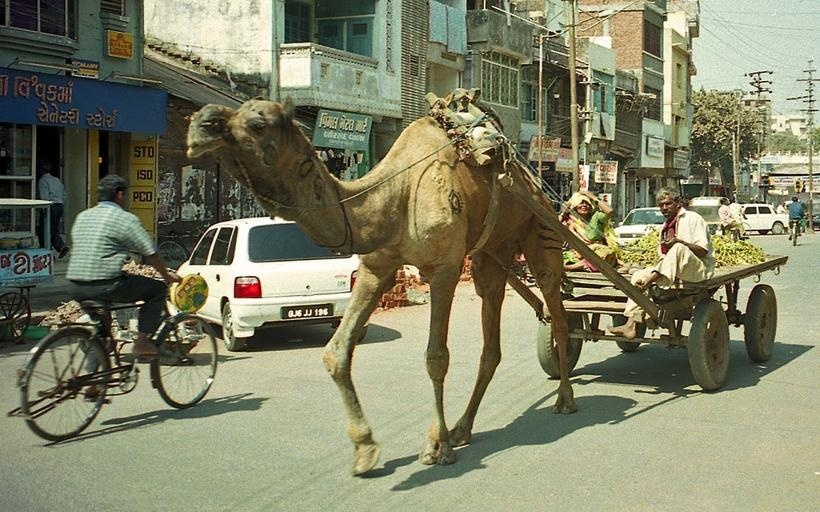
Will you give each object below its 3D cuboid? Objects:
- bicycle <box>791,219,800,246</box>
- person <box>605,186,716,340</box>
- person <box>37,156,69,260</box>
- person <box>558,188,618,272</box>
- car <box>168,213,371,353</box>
[{"bbox_3d":[15.983,-0.995,35.474,0.345,1.049,1.409,4,12,23],"label":"bicycle"},{"bbox_3d":[3.551,0.162,11.859,1.111,2.116,1.345,6,14,33],"label":"person"},{"bbox_3d":[-8.737,-1.115,20.719,0.764,2.401,0.984,-5,5,-44],"label":"person"},{"bbox_3d":[2.582,-0.385,12.723,1.068,1.163,0.836,-5,-5,-33],"label":"person"},{"bbox_3d":[-2.764,0.327,16.163,2.625,1.962,4.464,-3,5,-30],"label":"car"}]
